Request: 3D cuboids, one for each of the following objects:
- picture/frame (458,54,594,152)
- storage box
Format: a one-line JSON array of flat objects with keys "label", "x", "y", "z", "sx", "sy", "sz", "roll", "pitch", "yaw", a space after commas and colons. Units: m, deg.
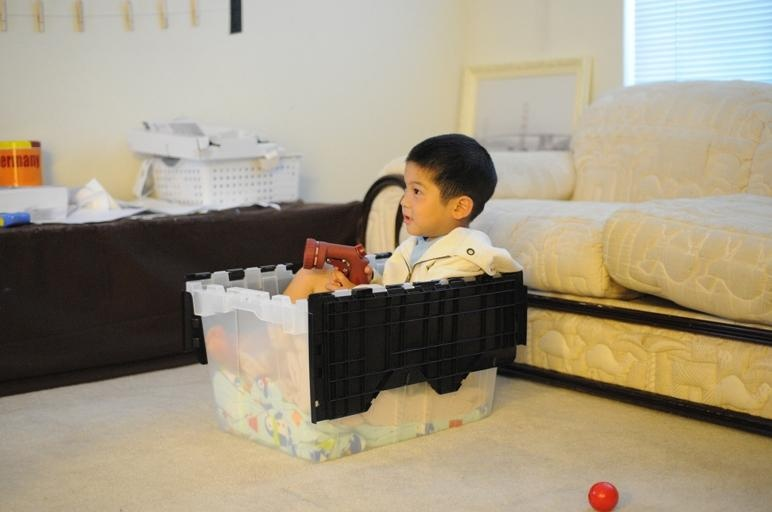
[{"label": "picture/frame", "x": 0.740, "y": -0.756, "z": 3.251, "sx": 0.655, "sy": 0.543, "sz": 0.045, "roll": 1, "pitch": -1, "yaw": 1}, {"label": "storage box", "x": -0.063, "y": 0.248, "z": 1.822, "sx": 0.782, "sy": 0.394, "sz": 0.562, "roll": -6, "pitch": 6, "yaw": -37}]
